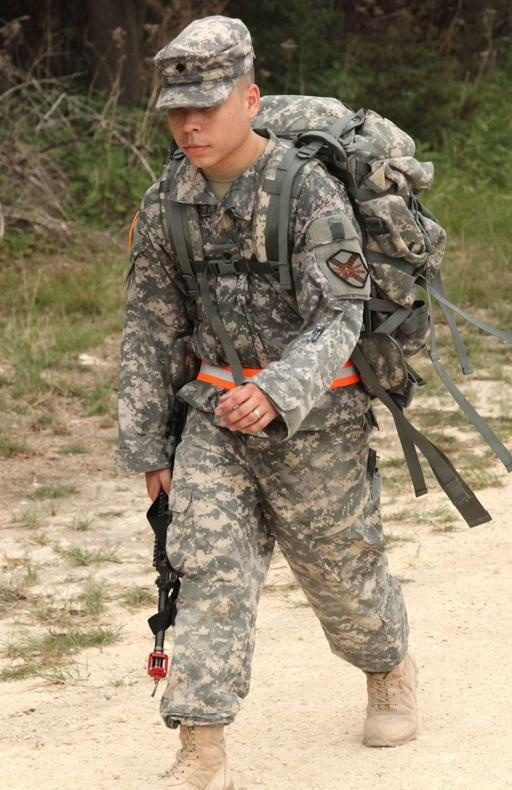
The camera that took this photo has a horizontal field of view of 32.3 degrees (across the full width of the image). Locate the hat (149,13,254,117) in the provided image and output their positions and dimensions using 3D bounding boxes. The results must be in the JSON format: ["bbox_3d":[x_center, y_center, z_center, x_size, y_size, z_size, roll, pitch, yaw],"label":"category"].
[{"bbox_3d":[-0.116,-0.708,1.844,0.214,0.119,0.281,5,43,15],"label":"hat"}]

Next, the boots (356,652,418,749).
[{"bbox_3d":[0.366,0.847,2.429,0.116,0.121,0.289,-3,12,13],"label":"boots"}]
